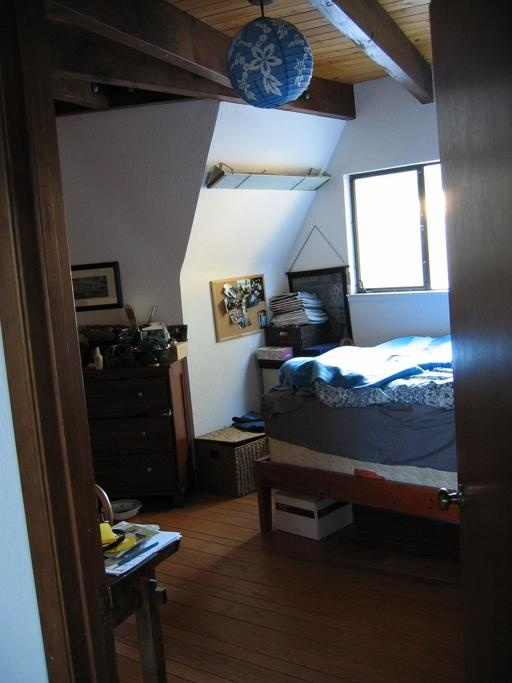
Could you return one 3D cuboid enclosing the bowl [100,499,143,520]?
[{"bbox_3d":[-0.952,1.249,3.968,0.214,0.082,0.270,-7,5,-15],"label":"bowl"}]

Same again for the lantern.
[{"bbox_3d":[0.051,-1.128,2.157,0.305,0.298,0.217,-2,6,35],"label":"lantern"}]

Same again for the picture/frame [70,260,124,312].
[{"bbox_3d":[-1.246,-0.461,4.223,0.620,0.512,0.046,0,13,11],"label":"picture/frame"}]

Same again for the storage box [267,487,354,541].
[{"bbox_3d":[0.350,1.064,3.485,0.336,0.202,0.337,2,3,37],"label":"storage box"}]

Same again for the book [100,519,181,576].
[{"bbox_3d":[-0.370,0.667,1.720,0.187,0.042,0.180,-3,4,38],"label":"book"}]

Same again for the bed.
[{"bbox_3d":[0.767,0.465,3.309,1.001,0.678,1.229,-1,3,30],"label":"bed"}]

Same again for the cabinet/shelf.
[{"bbox_3d":[-1.007,0.664,4.286,0.987,1.114,0.829,-11,23,-15],"label":"cabinet/shelf"}]

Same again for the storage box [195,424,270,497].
[{"bbox_3d":[-0.163,0.940,4.394,0.383,0.324,0.518,-6,-1,31],"label":"storage box"}]
